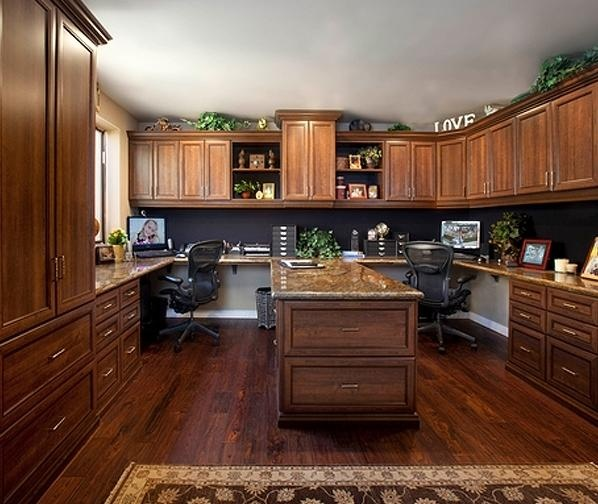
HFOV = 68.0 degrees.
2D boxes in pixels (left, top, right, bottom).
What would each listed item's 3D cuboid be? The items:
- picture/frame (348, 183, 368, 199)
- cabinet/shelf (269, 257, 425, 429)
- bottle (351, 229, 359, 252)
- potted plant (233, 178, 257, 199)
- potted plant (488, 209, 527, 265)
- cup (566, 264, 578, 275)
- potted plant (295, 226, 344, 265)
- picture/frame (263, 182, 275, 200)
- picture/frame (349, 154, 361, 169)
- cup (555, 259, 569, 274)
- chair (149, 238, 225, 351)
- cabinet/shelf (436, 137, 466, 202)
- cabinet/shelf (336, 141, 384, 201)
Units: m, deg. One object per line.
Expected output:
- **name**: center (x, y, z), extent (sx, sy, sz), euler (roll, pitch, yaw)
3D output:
- **picture/frame**: center (0.692, -0.722, 5.262), extent (0.248, 0.199, 0.023), euler (1, -17, -3)
- **cabinet/shelf**: center (0.314, 0.622, 2.918), extent (0.739, 0.567, 1.230), euler (0, 0, 1)
- **bottle**: center (0.686, -0.140, 5.424), extent (0.115, 0.257, 0.185), euler (-1, 8, 6)
- **potted plant**: center (-0.616, -0.742, 5.249), extent (0.222, 0.218, 0.306), euler (3, 9, 30)
- **potted plant**: center (2.089, -0.129, 4.328), extent (0.351, 0.494, 0.334), euler (-1, 8, 4)
- **cup**: center (2.255, 0.139, 3.657), extent (0.079, 0.084, 0.102), euler (3, 9, 28)
- **potted plant**: center (0.215, -0.093, 5.208), extent (0.469, 0.395, 0.236), euler (-6, -29, -1)
- **picture/frame**: center (-0.362, -0.726, 5.248), extent (0.151, 0.174, 0.149), euler (-2, 8, -5)
- **picture/frame**: center (0.659, -1.073, 5.238), extent (0.132, 0.172, 0.186), euler (1, 8, 16)
- **cup**: center (2.198, 0.114, 3.716), extent (0.124, 0.110, 0.111), euler (0, 0, -5)
- **chair**: center (-1.127, 0.388, 4.629), extent (0.694, 1.044, 1.066), euler (-3, 8, -12)
- **cabinet/shelf**: center (1.730, -0.925, 5.028), extent (0.092, 0.687, 0.351), euler (-10, 12, -43)
- **cabinet/shelf**: center (0.726, -0.959, 5.253), extent (0.864, 0.661, 0.259), euler (0, -2, -2)
